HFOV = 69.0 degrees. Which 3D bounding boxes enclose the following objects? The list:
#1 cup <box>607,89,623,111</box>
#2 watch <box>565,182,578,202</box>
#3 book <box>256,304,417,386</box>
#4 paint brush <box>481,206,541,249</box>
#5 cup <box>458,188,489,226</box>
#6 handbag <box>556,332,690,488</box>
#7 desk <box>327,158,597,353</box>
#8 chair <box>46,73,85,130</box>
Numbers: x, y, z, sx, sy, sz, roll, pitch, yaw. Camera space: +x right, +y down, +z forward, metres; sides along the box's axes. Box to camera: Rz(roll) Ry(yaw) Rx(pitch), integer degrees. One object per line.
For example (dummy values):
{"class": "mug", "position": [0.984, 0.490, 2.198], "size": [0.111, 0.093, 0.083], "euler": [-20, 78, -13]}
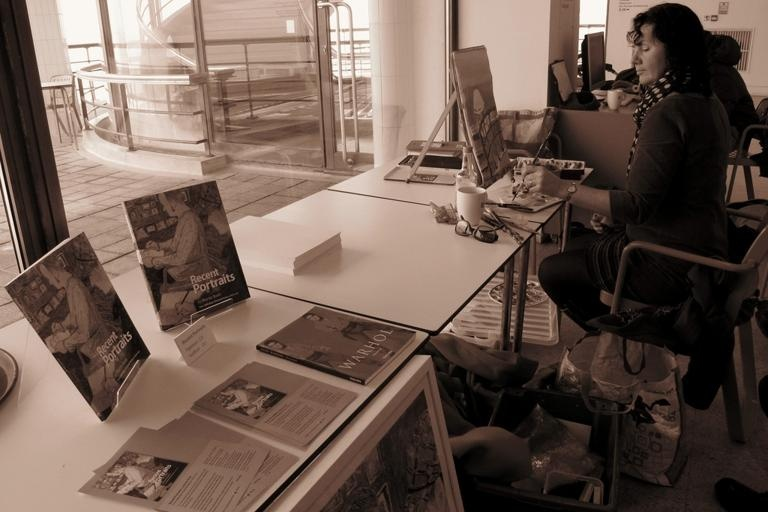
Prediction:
{"class": "cup", "position": [1.698, -1.149, 4.130], "size": [0.114, 0.162, 0.178], "euler": [8, 45, 30]}
{"class": "watch", "position": [0.829, -0.285, 2.470], "size": [0.054, 0.070, 0.022], "euler": [11, -8, 40]}
{"class": "book", "position": [-0.136, 0.251, 1.604], "size": [0.261, 0.018, 0.225], "euler": [14, 26, 26]}
{"class": "paint brush", "position": [0.512, -0.131, 2.332], "size": [0.115, 0.052, 0.287], "euler": [-13, 36, -34]}
{"class": "cup", "position": [0.335, -0.207, 2.352], "size": [0.158, 0.124, 0.131], "euler": [18, 32, 39]}
{"class": "handbag", "position": [0.973, 0.637, 2.245], "size": [0.455, 0.552, 0.390], "euler": [14, 33, 34]}
{"class": "desk", "position": [0.111, -0.109, 2.876], "size": [1.093, 0.252, 0.772], "euler": [22, 41, 29]}
{"class": "chair", "position": [-1.306, -0.680, 2.288], "size": [0.122, 0.150, 0.112], "euler": [-31, 71, -30]}
